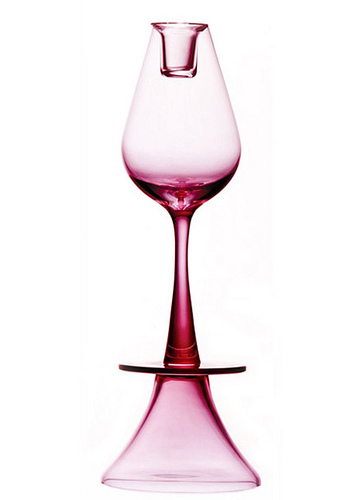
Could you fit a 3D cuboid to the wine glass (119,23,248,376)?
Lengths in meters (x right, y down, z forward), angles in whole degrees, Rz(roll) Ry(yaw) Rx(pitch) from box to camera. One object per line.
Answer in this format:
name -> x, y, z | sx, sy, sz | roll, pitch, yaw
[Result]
wine glass -> 0.001, -0.056, 0.524 | 0.116, 0.296, 0.190 | -4, -33, 8
